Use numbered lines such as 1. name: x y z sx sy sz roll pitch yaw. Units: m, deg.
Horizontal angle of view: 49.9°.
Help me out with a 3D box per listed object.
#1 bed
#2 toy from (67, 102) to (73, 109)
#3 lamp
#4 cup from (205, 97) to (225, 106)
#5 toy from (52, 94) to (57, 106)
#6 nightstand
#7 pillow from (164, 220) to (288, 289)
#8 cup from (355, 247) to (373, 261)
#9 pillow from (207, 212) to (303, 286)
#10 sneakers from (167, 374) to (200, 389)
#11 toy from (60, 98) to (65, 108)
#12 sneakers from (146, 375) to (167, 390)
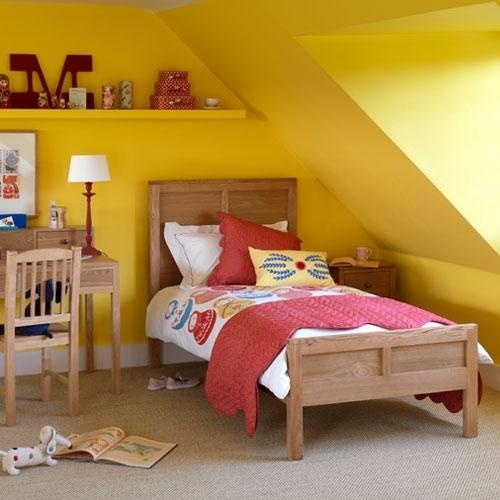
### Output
1. bed: 0.492 0.182 3.447 1.699 1.436 2.028 -1 2 -26
2. toy: -1.261 -1.005 3.742 0.053 0.040 0.040 -8 31 -19
3. lamp: -1.091 -0.301 3.637 0.269 0.680 0.434 -1 2 -15
4. cup: -0.274 -1.086 4.014 0.098 0.041 0.106 -1 0 0
5. toy: -1.368 -1.036 3.744 0.039 0.109 0.075 -1 3 -19
6. nightstand: 0.865 0.155 4.191 0.545 0.374 0.338 -3 11 -22
7. pillow: -0.386 0.014 3.785 0.854 0.459 0.207 -6 -19 -5
8. cup: 0.917 0.028 4.273 0.168 0.109 0.092 -2 4 -22
9. pillow: -0.013 -0.001 3.680 0.672 0.474 0.182 9 -22 -27
10. sneakers: -0.436 0.862 3.559 0.220 0.064 0.080 -2 7 -28
11. toy: -1.313 -1.017 3.736 0.055 0.055 0.023 -2 -3 -3
12. sneakers: -0.617 0.871 3.545 0.062 0.045 0.151 2 5 22
